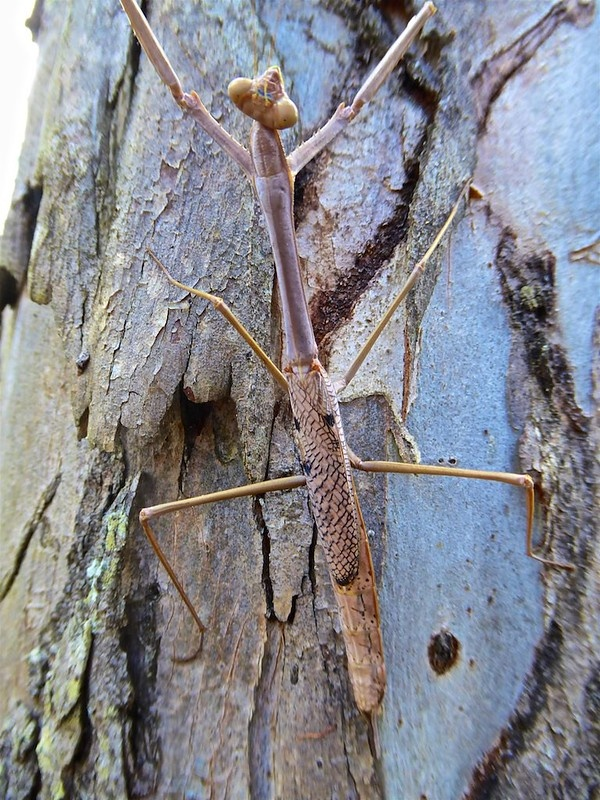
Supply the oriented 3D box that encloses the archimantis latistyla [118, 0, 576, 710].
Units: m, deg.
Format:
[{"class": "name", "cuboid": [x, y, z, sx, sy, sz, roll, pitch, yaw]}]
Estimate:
[{"class": "archimantis latistyla", "cuboid": [0.036, -0.138, 1.250, 0.690, 1.038, 0.506, 3, 28, 19]}]
